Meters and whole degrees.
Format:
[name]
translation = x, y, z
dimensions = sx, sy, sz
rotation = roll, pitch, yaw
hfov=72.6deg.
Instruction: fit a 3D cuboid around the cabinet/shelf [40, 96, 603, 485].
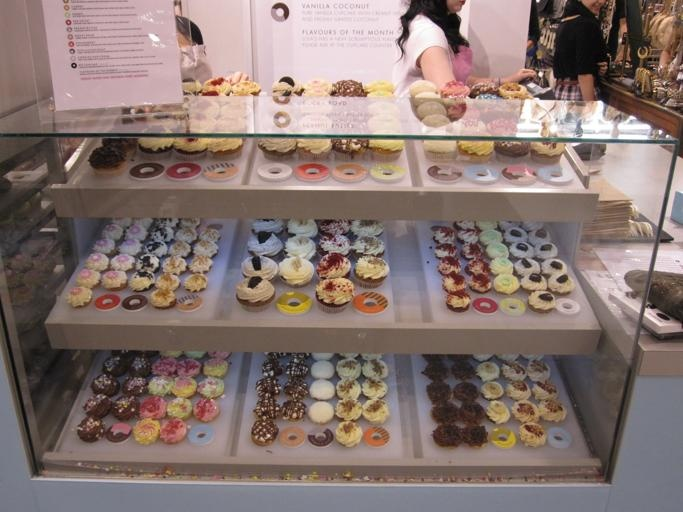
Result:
[cabinet/shelf]
translation = -0.031, 0.145, 2.323
dimensions = 2.335, 0.958, 1.549
rotation = 2, 38, 1
